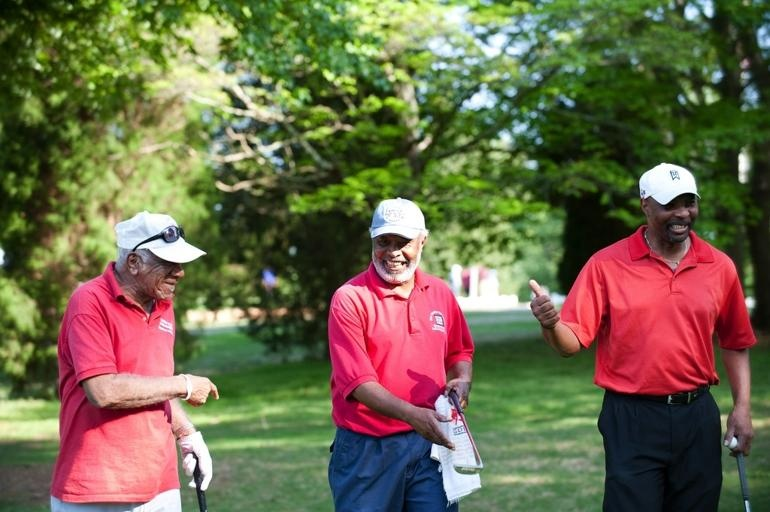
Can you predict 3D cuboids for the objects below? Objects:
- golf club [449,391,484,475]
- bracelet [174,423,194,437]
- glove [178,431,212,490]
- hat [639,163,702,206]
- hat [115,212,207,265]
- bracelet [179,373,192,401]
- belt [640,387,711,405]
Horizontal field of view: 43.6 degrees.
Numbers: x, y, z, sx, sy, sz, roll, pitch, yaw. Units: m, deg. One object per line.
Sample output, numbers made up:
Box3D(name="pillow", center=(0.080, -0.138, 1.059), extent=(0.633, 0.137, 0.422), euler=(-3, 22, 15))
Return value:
Box3D(name="golf club", center=(0.774, 1.679, 9.124), extent=(0.327, 0.661, 0.198), euler=(-14, -10, 21))
Box3D(name="bracelet", center=(-1.921, 1.671, 9.202), extent=(0.133, 0.109, 0.141), euler=(-3, -2, 12))
Box3D(name="glove", center=(-1.772, 1.929, 9.299), extent=(0.306, 0.594, 0.207), euler=(-10, -5, 20))
Box3D(name="hat", center=(2.715, -0.669, 9.343), extent=(0.369, 0.308, 0.510), euler=(-5, 2, -8))
Box3D(name="hat", center=(-2.120, -0.173, 9.030), extent=(0.633, 0.378, 0.507), euler=(3, 3, 0))
Box3D(name="bracelet", center=(-1.796, 1.207, 8.775), extent=(0.074, 0.218, 0.083), euler=(-5, -3, -15))
Box3D(name="belt", center=(2.804, 1.361, 9.228), extent=(0.717, 0.143, 0.111), euler=(-5, -4, -12))
